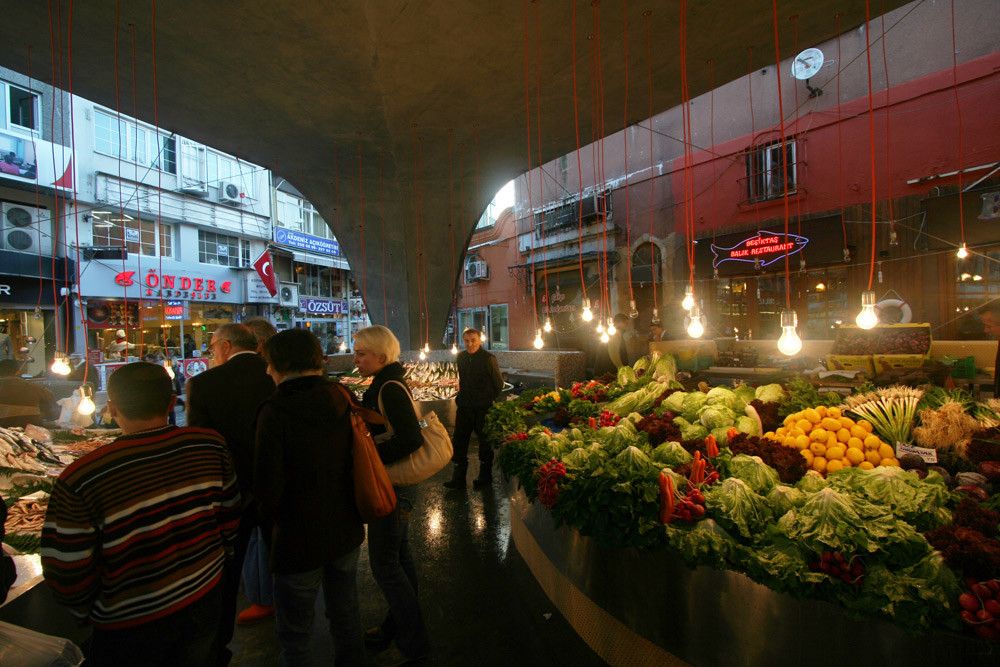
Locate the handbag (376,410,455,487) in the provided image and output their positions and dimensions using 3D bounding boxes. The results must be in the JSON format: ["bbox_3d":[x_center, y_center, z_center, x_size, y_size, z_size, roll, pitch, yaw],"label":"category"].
[{"bbox_3d":[-0.920,1.344,8.183,0.590,0.916,0.685,4,-1,-17],"label":"handbag"}]

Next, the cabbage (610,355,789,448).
[{"bbox_3d":[2.276,0.864,8.813,1.246,0.498,1.259,-5,-3,-26],"label":"cabbage"}]

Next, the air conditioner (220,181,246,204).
[{"bbox_3d":[-9.361,-4.859,24.929,0.395,0.735,1.196,-4,0,3],"label":"air conditioner"}]

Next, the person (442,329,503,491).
[{"bbox_3d":[-0.372,1.081,10.933,0.865,2.478,0.835,-1,0,24],"label":"person"}]
